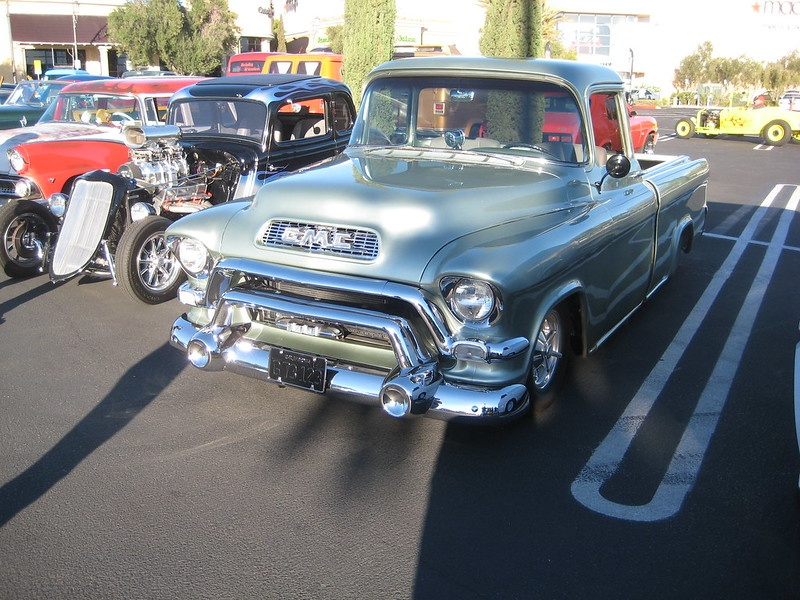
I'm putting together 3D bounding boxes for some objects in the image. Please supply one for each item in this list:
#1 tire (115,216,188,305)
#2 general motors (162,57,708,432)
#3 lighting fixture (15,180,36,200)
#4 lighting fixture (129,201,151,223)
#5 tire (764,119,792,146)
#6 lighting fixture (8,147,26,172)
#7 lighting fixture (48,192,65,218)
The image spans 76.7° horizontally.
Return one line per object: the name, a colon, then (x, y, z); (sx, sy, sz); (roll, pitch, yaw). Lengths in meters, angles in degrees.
tire: (-2.571, -0.412, 5.167); (0.247, 0.785, 0.784); (10, -13, 26)
general motors: (0.821, -0.559, 4.282); (2.326, 1.765, 4.150); (9, 20, 32)
lighting fixture: (-4.986, -1.453, 6.700); (0.228, 0.230, 0.060); (13, 10, -3)
lighting fixture: (-2.875, -0.963, 5.586); (0.244, 0.264, 0.150); (7, 3, -5)
tire: (16.134, -7.150, 21.509); (0.937, 0.957, 0.347); (12, 20, 41)
lighting fixture: (-5.072, -1.844, 6.775); (0.234, 0.323, 0.117); (10, 1, 6)
lighting fixture: (-4.041, -1.097, 5.997); (0.187, 0.298, 0.413); (-15, 26, -32)
